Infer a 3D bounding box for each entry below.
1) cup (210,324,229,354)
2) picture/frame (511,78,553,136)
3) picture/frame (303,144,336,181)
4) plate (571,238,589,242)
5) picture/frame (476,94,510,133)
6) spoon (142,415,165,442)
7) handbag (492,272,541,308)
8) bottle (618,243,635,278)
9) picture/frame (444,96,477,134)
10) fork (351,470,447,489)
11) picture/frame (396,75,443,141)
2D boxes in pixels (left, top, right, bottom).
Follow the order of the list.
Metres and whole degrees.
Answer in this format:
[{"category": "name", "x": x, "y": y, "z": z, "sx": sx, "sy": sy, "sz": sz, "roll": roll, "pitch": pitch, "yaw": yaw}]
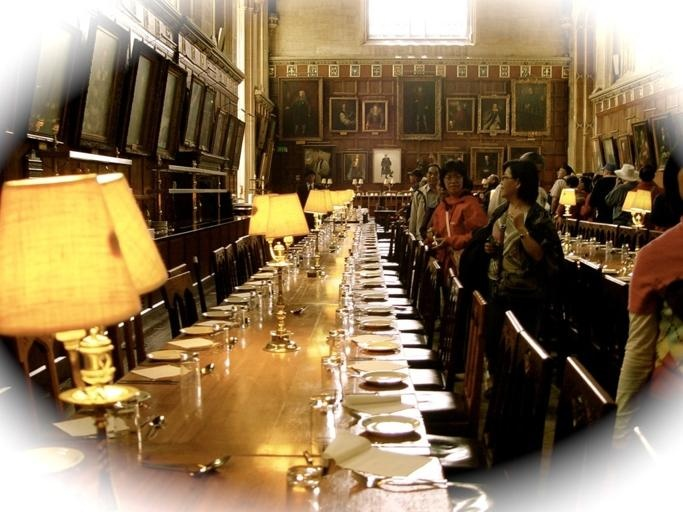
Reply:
[{"category": "cup", "x": -0.718, "y": 0.491, "z": 2.988, "sx": 0.122, "sy": 0.219, "sz": 0.121, "roll": 0, "pitch": -4, "yaw": 0}, {"category": "picture/frame", "x": 7.700, "y": -6.152, "z": 19.968, "sx": 1.995, "sy": 3.099, "sz": 0.203, "roll": 0, "pitch": 2, "yaw": 0}, {"category": "picture/frame", "x": -0.857, "y": -3.923, "z": 20.356, "sx": 1.476, "sy": 1.910, "sz": 0.228, "roll": 0, "pitch": 2, "yaw": 2}, {"category": "plate", "x": 3.219, "y": -0.238, "z": 6.708, "sx": 0.199, "sy": 0.074, "sz": 0.215, "roll": 1, "pitch": 4, "yaw": 13}, {"category": "picture/frame", "x": 6.157, "y": -5.851, "z": 20.049, "sx": 1.368, "sy": 1.839, "sz": 0.168, "roll": 0, "pitch": 1, "yaw": 0}, {"category": "spoon", "x": -0.726, "y": 0.668, "z": 1.900, "sx": 0.033, "sy": 0.015, "sz": 0.098, "roll": 3, "pitch": 12, "yaw": -4}, {"category": "handbag", "x": 1.442, "y": 0.195, "z": 4.064, "sx": 0.288, "sy": 0.170, "sz": 0.400, "roll": -11, "pitch": 6, "yaw": 31}, {"category": "bottle", "x": 2.957, "y": 0.044, "z": 5.154, "sx": 0.109, "sy": 0.159, "sz": 0.425, "roll": 4, "pitch": 38, "yaw": 27}, {"category": "picture/frame", "x": 4.869, "y": -5.858, "z": 20.194, "sx": 1.319, "sy": 1.756, "sz": 0.175, "roll": 0, "pitch": 3, "yaw": 0}, {"category": "fork", "x": 0.172, "y": 0.696, "z": 1.536, "sx": 0.211, "sy": 0.044, "sz": 0.033, "roll": -3, "pitch": 15, "yaw": 9}, {"category": "picture/frame", "x": 3.203, "y": -6.165, "z": 20.151, "sx": 2.197, "sy": 3.290, "sz": 0.213, "roll": 0, "pitch": 2, "yaw": -1}]
